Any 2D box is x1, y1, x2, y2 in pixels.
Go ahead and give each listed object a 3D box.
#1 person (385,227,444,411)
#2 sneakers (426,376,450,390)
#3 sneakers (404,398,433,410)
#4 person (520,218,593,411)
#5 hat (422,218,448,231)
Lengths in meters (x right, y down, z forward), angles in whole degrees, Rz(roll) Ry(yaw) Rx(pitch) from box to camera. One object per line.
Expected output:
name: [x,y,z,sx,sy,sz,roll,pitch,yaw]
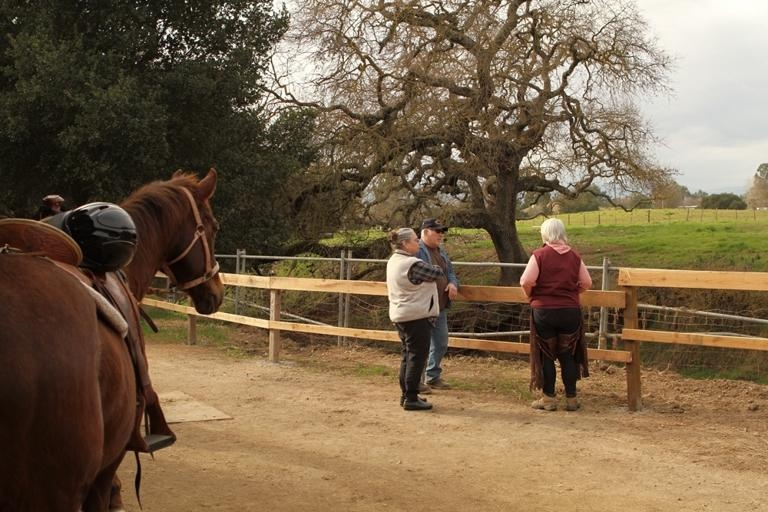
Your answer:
person: [0.470,0.923,11.546,0.646,2.659,0.739,-5,13,-20]
sneakers: [0.881,2.055,12.512,0.412,0.172,0.163,0,-1,4]
sneakers: [0.512,2.216,11.602,0.480,0.191,0.167,-1,3,-11]
person: [2.539,0.860,11.464,0.990,2.859,0.596,1,13,8]
hat: [0.828,-0.525,12.302,0.329,0.122,0.205,1,-1,-3]
